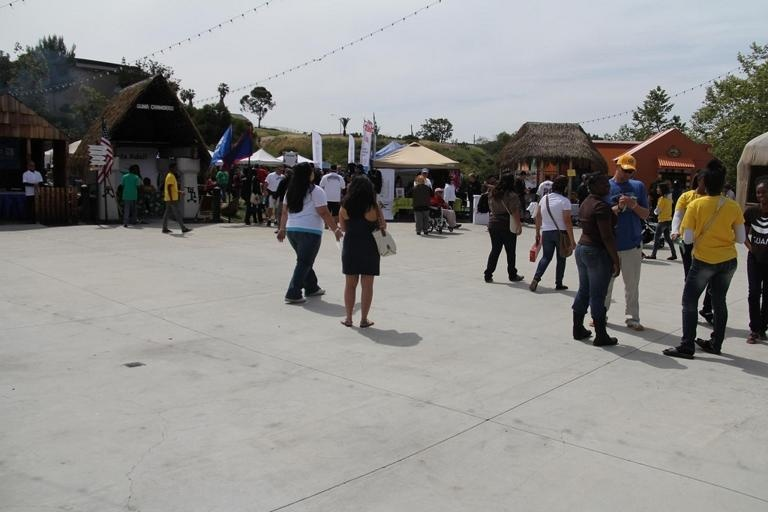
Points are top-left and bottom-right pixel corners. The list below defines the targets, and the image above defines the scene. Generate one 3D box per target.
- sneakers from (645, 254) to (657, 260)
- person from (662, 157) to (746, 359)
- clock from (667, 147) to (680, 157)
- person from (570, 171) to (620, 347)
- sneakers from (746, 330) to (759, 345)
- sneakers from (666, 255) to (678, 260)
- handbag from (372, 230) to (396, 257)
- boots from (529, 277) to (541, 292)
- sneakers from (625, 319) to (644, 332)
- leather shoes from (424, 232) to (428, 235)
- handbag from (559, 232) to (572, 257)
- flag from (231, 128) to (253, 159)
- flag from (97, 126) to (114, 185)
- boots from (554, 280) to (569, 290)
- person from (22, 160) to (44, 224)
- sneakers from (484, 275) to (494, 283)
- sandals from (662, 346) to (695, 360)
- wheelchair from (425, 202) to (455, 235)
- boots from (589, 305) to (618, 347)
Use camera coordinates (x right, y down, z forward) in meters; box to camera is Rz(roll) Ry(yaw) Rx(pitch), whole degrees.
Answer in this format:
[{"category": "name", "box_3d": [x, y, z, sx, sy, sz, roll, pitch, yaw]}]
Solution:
[{"category": "sneakers", "box_3d": [6.793, 0.015, 13.685, 0.248, 0.099, 0.083, 10, 4, 5]}, {"category": "person", "box_3d": [3.874, 0.010, 6.467, 0.983, 2.344, 0.505, -3, 6, -31]}, {"category": "clock", "box_3d": [21.028, -7.571, 38.991, 1.045, 0.758, 0.141, -2, 5, -17]}, {"category": "person", "box_3d": [2.675, 0.023, 6.776, 0.404, 2.156, 0.545, -3, 6, -32]}, {"category": "sneakers", "box_3d": [4.816, 1.064, 7.026, 0.136, 0.159, 0.372, 0, -7, 33]}, {"category": "sneakers", "box_3d": [7.394, 0.031, 13.843, 0.119, 0.136, 0.323, 0, 7, -7]}, {"category": "handbag", "box_3d": [-0.015, -0.158, 7.316, 0.274, 0.355, 0.351, -5, -11, -35]}, {"category": "boots", "box_3d": [2.705, 0.515, 9.679, 0.129, 0.288, 0.121, 13, 8, 23]}, {"category": "sneakers", "box_3d": [3.417, 0.943, 7.352, 0.242, 0.236, 0.119, -1, 8, 29]}, {"category": "leather shoes", "box_3d": [1.417, -0.766, 18.044, 0.110, 0.074, 0.060, 1, -7, -5]}, {"category": "handbag", "box_3d": [2.941, -0.194, 8.705, 0.187, 0.441, 0.398, -2, 2, 35]}, {"category": "flag", "box_3d": [-5.952, -4.793, 22.864, 0.814, 1.275, 2.353, -3, 6, -26]}, {"category": "flag", "box_3d": [-9.654, -3.497, 18.591, 0.501, 1.833, 0.859, -3, 6, -28]}, {"category": "boots", "box_3d": [3.248, 0.508, 9.813, 0.309, 0.207, 0.117, -14, 18, -38]}, {"category": "person", "box_3d": [-11.706, -2.148, 17.904, 0.476, 2.034, 0.775, -3, 6, -32]}, {"category": "sneakers", "box_3d": [2.031, 0.433, 10.350, 0.159, 0.156, 0.118, -6, 10, -15]}, {"category": "sandals", "box_3d": [3.476, 1.117, 6.379, 0.396, 0.159, 0.149, 4, 1, 29]}, {"category": "wheelchair", "box_3d": [2.091, -1.373, 19.204, 0.740, 0.940, 1.191, 9, 20, 33]}, {"category": "boots", "box_3d": [2.746, 0.875, 6.703, 0.373, 0.496, 0.163, -4, 3, -14]}]
